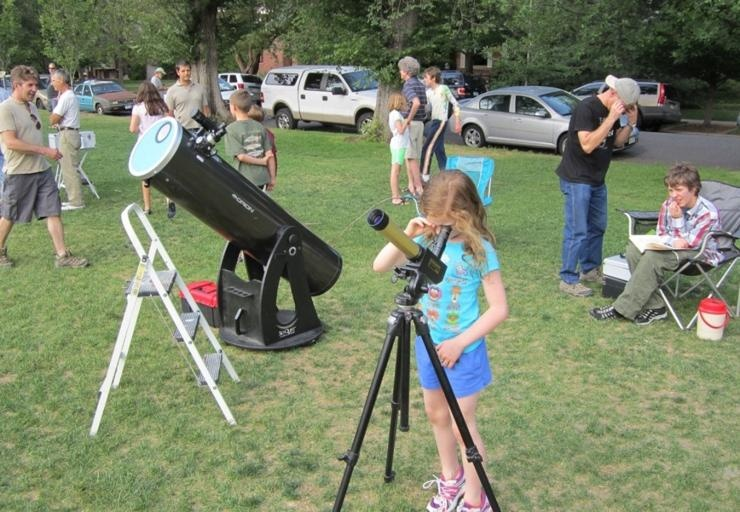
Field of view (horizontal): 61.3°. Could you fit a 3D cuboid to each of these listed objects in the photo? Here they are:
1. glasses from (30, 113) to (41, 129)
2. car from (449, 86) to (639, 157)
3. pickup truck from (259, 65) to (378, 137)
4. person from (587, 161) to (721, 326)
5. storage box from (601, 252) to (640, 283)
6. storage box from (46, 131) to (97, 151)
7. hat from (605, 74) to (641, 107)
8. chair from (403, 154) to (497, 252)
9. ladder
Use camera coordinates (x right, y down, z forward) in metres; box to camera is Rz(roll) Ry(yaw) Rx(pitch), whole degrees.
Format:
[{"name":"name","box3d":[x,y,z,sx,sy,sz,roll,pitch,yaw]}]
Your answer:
[{"name":"glasses","box3d":[-4.321,-1.754,8.040,0.035,0.158,0.100,-19,3,19]},{"name":"car","box3d":[4.226,-3.287,16.763,5.197,1.817,2.284,13,27,36]},{"name":"pickup truck","box3d":[-1.407,-5.401,20.140,3.607,1.645,2.214,15,29,33]},{"name":"person","box3d":[3.051,-0.140,7.148,1.140,1.739,1.472,6,23,4]},{"name":"storage box","box3d":[2.887,0.078,7.223,0.353,0.183,0.263,9,13,-26]},{"name":"storage box","box3d":[-5.062,-1.975,10.570,0.568,0.433,0.807,-4,20,-16]},{"name":"hat","box3d":[2.826,-1.857,6.974,0.342,0.310,0.340,7,19,19]},{"name":"chair","box3d":[1.662,-0.791,9.359,1.263,1.805,1.302,-10,18,-37]},{"name":"ladder","box3d":[-1.877,0.353,5.782,1.228,1.873,1.754,-3,18,-13]}]
